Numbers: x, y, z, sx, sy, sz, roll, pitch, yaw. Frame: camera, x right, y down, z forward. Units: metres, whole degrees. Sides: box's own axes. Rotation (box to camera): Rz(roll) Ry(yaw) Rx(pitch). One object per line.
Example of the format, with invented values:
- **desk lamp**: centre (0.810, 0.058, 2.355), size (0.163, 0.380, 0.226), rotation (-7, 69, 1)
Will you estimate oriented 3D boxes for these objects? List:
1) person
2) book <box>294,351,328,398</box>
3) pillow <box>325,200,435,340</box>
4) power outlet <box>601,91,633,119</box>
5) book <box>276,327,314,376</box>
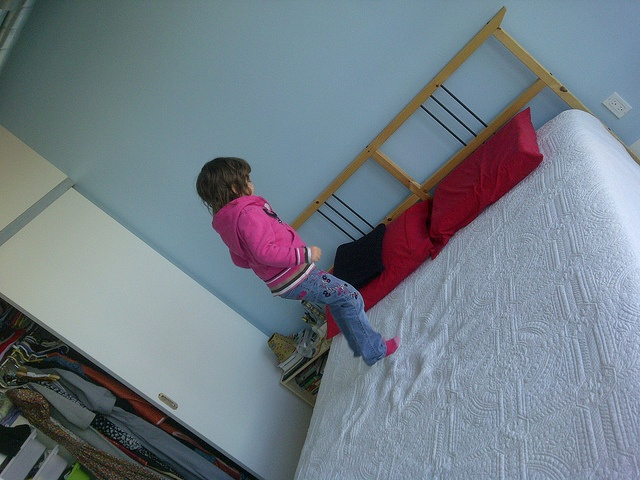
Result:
- **person**: centre (-0.099, 0.166, 2.489), size (0.417, 1.477, 0.547), rotation (-43, 13, -18)
- **book**: centre (-0.028, 0.984, 3.367), size (0.329, 0.246, 0.093), rotation (-51, -24, 18)
- **pillow**: centre (0.345, 0.209, 2.815), size (0.804, 0.195, 0.587), rotation (-59, 6, 35)
- **power outlet**: centre (1.768, -0.800, 2.660), size (0.121, 0.123, 0.012), rotation (-36, 12, 40)
- **book**: centre (-0.155, 0.824, 3.336), size (0.223, 0.088, 0.337), rotation (1, 61, 23)
